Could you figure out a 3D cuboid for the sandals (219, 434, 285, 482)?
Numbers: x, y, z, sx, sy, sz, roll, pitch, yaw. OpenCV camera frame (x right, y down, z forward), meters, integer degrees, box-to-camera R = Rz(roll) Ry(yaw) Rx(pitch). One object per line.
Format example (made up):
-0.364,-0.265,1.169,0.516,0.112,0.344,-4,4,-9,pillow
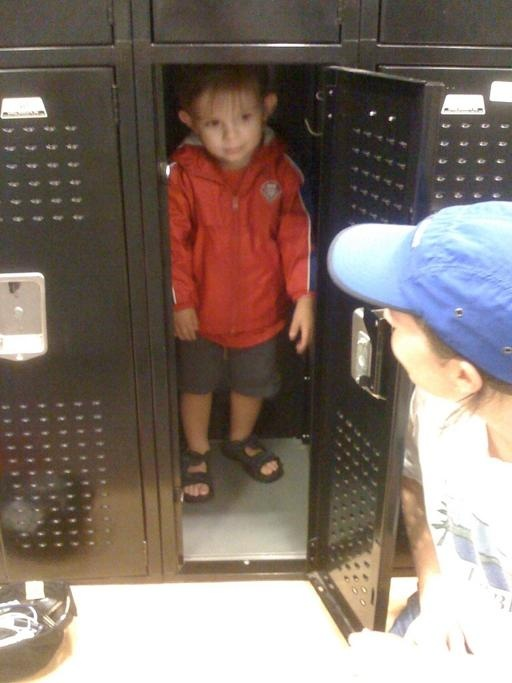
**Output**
-0.006,0.368,1.912,0.096,0.086,0.209,-29,47,-29,sandals

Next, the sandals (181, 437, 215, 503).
-0.181,0.373,1.761,0.058,0.078,0.202,-1,52,-1,sandals
